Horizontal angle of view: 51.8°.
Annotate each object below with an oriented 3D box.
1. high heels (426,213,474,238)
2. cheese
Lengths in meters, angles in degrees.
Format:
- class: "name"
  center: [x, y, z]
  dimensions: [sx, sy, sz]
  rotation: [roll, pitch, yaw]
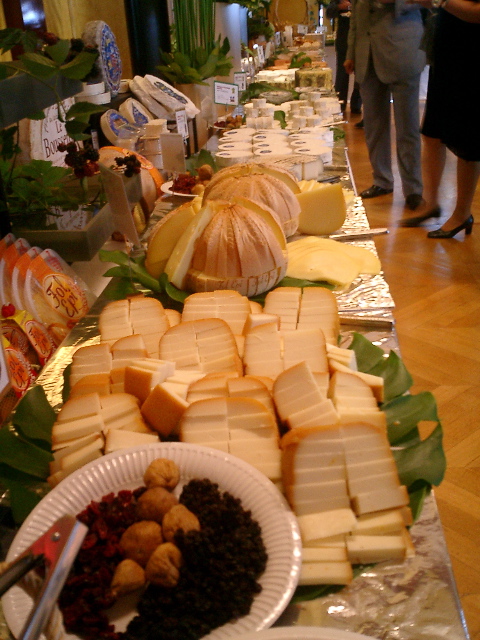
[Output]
- class: "high heels"
  center: [1.359, -0.644, 3.351]
  dimensions: [0.376, 0.174, 0.124]
  rotation: [-4, 22, 8]
- class: "cheese"
  center: [0.035, -0.013, 0.860]
  dimensions: [0.620, 0.630, 0.592]
  rotation: [-6, 23, -3]
